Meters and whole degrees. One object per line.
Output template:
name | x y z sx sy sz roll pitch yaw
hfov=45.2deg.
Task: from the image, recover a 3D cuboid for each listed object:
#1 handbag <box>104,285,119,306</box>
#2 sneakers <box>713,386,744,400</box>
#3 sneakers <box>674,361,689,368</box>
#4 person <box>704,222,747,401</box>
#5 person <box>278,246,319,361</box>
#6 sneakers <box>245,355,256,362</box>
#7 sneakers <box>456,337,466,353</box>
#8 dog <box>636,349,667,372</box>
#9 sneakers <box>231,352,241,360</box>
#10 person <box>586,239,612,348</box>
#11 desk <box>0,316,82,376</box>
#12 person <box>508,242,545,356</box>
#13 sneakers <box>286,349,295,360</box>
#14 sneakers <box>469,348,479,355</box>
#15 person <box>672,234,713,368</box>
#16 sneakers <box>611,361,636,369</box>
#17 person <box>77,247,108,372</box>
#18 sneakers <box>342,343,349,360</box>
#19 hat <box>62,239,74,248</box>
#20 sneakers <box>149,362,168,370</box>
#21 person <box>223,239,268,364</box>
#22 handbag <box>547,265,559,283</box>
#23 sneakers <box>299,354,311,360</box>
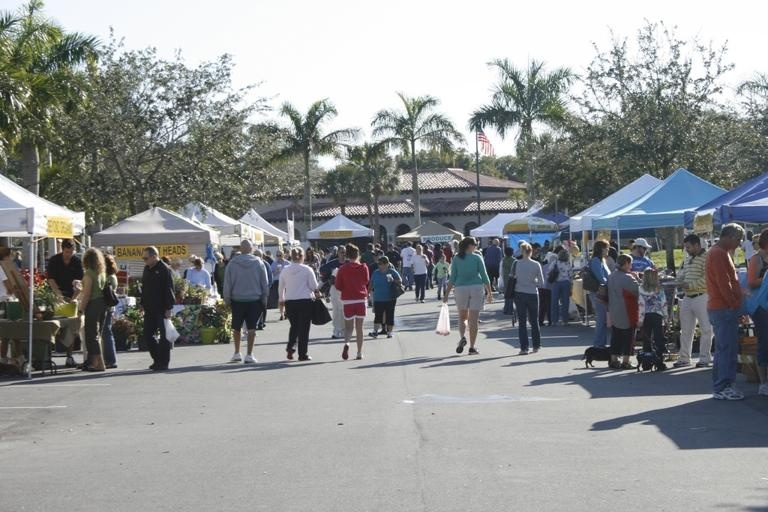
handbag | -5.232 0.764 17.634 0.331 0.382 0.189 -20 -9 43
sneakers | 5.306 2.153 14.266 0.348 0.163 0.206 -5 2 7
sneakers | 5.492 2.007 17.096 0.273 0.118 0.121 1 0 14
person | 5.406 0.865 14.598 0.575 2.752 0.656 -3 -4 19
person | -1.789 1.001 19.113 0.813 2.304 0.813 0 2 4
sneakers | -2.703 2.087 18.697 0.223 0.156 0.291 -2 -5 -7
sneakers | 1.600 1.873 19.159 0.143 0.359 0.148 9 28 -7
dog | 4.889 1.928 16.908 0.519 0.365 0.334 -3 -4 16
sneakers | -3.000 2.055 18.744 0.196 0.196 0.243 -1 -4 -10
person | 4.507 0.815 18.825 0.803 2.279 0.703 0 2 21
desk | -6.616 1.630 17.494 0.949 0.665 1.314 -1 -1 4
person | 2.995 0.894 19.327 0.665 2.228 0.633 -1 1 -21
sneakers | -1.925 2.022 18.881 0.129 0.230 0.373 -1 -5 -8
sneakers | 1.857 1.999 19.231 0.089 0.103 0.230 2 4 33
person | 5.589 0.806 16.807 0.812 2.454 0.791 -5 6 -39
sneakers | 4.408 2.025 17.216 0.360 0.103 0.159 0 0 -9
person | -5.517 1.040 17.531 0.486 2.316 0.624 -1 -4 -17
sneakers | -0.789 1.946 18.604 0.130 0.293 0.189 1 -4 3
hat | -6.175 -0.230 18.059 0.200 0.159 0.181 -31 -12 37
sneakers | -4.353 2.136 17.777 0.320 0.147 0.132 -5 -8 29
person | -2.844 0.944 18.996 0.832 2.504 0.765 0 -2 -5
handbag | 4.225 0.487 23.122 0.125 0.391 0.283 24 -32 -13
sneakers | -1.629 2.082 18.907 0.228 0.124 0.276 -2 -5 -5
